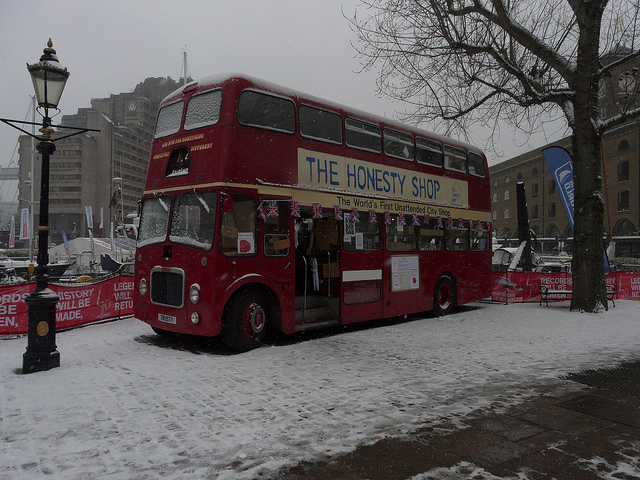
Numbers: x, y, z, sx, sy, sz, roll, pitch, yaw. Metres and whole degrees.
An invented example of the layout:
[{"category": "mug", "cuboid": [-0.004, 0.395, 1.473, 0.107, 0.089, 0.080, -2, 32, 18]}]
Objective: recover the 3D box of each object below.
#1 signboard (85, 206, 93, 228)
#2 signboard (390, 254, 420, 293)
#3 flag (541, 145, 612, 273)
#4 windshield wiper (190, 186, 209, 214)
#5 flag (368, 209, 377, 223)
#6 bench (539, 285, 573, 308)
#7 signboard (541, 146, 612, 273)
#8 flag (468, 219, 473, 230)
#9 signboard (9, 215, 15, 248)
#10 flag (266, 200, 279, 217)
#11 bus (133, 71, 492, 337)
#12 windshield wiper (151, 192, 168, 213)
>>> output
[{"category": "signboard", "cuboid": [-24.801, -2.503, 56.220, 0.487, 2.125, 10.828, -1, 3, -25]}, {"category": "signboard", "cuboid": [2.479, 0.948, 15.390, 1.187, 1.052, 0.111, 0, -2, -33]}, {"category": "flag", "cuboid": [9.162, -0.962, 18.843, 0.862, 4.902, 0.047, -19, 4, 7]}, {"category": "windshield wiper", "cuboid": [-2.647, -0.883, 11.539, 0.018, 0.653, 0.068, -18, -11, -43]}, {"category": "flag", "cuboid": [1.409, -0.657, 14.294, 0.277, 0.385, 0.044, -7, 10, -32]}, {"category": "bench", "cuboid": [8.544, 2.046, 19.471, 1.282, 0.730, 0.834, -1, 3, -20]}, {"category": "signboard", "cuboid": [10.442, -1.241, 20.481, 2.742, 4.857, 7.516, 2, 4, 41]}, {"category": "flag", "cuboid": [5.117, -0.543, 17.714, 0.181, 0.321, 0.093, -22, 18, -30]}, {"category": "signboard", "cuboid": [-34.798, -1.080, 59.154, 0.247, 3.277, 8.591, -1, 3, -30]}, {"category": "flag", "cuboid": [-1.101, -0.721, 11.935, 0.022, 0.401, 0.323, -5, -5, 43]}, {"category": "bus", "cuboid": [0.827, -0.735, 15.750, 12.428, 6.376, 3.259, -3, 4, -42]}, {"category": "windshield wiper", "cuboid": [-3.779, -0.883, 12.371, 0.037, 0.592, 0.078, -18, -23, -40]}]
